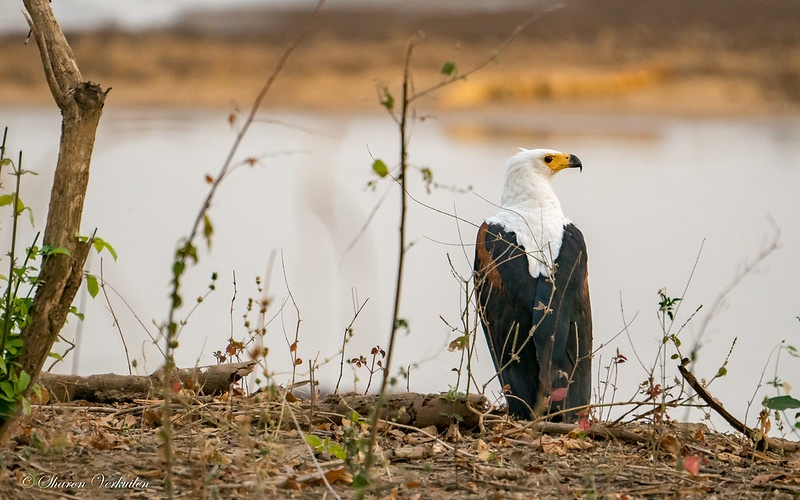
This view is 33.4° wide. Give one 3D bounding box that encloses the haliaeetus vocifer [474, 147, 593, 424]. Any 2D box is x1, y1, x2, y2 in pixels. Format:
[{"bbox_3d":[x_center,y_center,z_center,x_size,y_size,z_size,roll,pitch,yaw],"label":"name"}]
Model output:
[{"bbox_3d":[1.417,0.280,14.128,1.220,3.110,1.192,0,-14,5],"label":"haliaeetus vocifer"}]
